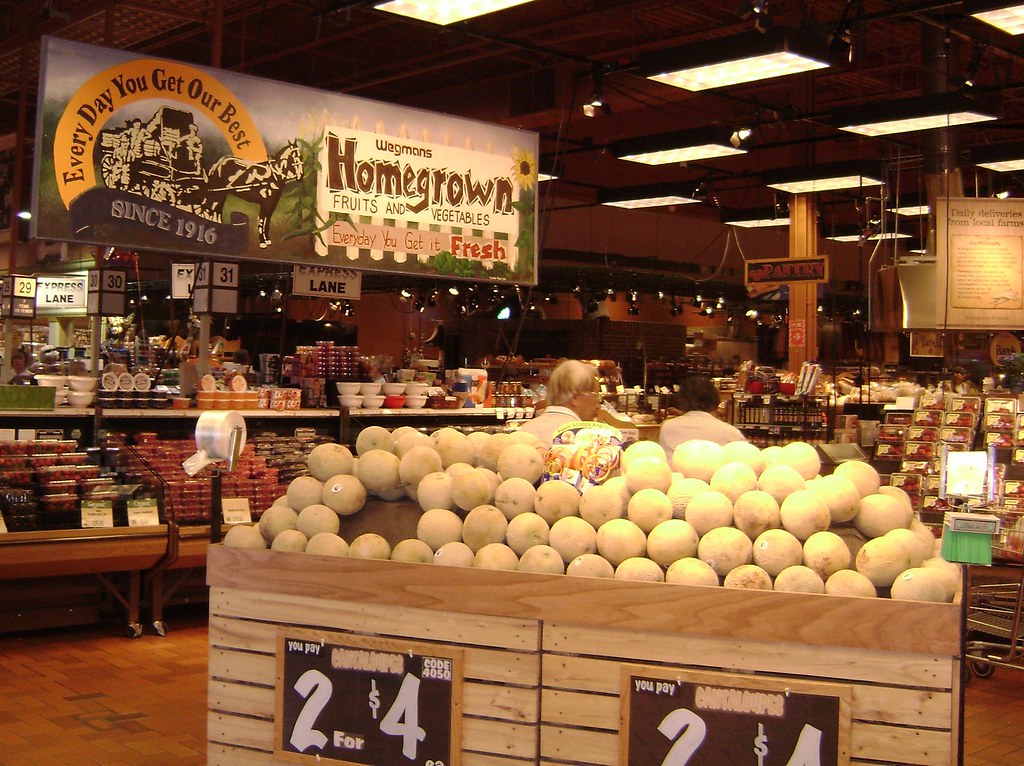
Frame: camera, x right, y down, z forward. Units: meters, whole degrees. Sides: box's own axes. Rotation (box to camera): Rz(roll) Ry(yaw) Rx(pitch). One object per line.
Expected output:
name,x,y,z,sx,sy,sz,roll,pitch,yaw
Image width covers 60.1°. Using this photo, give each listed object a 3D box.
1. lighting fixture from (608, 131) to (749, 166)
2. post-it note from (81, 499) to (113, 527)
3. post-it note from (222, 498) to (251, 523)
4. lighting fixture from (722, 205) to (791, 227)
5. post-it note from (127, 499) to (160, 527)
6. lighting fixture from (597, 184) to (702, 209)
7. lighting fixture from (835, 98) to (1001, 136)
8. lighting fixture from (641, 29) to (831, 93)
lighting fixture,1.667,-2.351,8.857,1.213,0.200,0.661,7,10,41
post-it note,-2.696,0.841,5.730,0.187,0.162,0.026,4,-26,-37
post-it note,-1.962,0.899,6.272,0.072,0.188,0.224,-21,-20,40
lighting fixture,3.483,-2.386,12.754,0.648,0.155,0.683,0,1,4
post-it note,-2.469,0.863,5.901,0.164,0.151,0.058,8,-23,-36
lighting fixture,1.757,-2.464,11.575,1.293,0.302,1.477,3,8,20
lighting fixture,3.500,-2.322,7.728,0.574,0.187,1.062,-6,10,-41
lighting fixture,1.640,-2.373,6.548,1.185,0.243,0.759,7,10,41
